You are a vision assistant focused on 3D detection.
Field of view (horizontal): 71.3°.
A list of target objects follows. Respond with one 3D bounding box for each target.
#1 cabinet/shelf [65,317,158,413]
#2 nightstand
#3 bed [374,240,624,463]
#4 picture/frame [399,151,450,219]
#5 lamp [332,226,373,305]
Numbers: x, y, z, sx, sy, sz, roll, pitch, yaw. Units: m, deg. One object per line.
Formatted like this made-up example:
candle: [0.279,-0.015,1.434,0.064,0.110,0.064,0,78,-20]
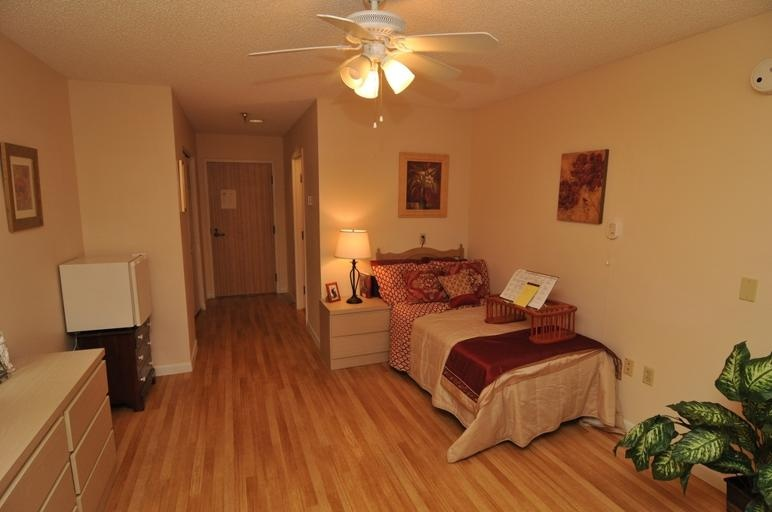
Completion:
cabinet/shelf: [-2.516,0.945,4.983,0.620,0.892,1.051,-4,10,-15]
nightstand: [-0.333,0.698,5.624,0.895,0.827,0.604,-2,6,-23]
bed: [0.948,0.804,4.983,1.501,1.385,1.798,-3,6,-20]
picture/frame: [0.380,-0.799,5.832,0.764,0.843,0.061,-1,10,-18]
lamp: [-0.336,0.091,5.523,0.359,0.751,0.424,-2,6,-2]
